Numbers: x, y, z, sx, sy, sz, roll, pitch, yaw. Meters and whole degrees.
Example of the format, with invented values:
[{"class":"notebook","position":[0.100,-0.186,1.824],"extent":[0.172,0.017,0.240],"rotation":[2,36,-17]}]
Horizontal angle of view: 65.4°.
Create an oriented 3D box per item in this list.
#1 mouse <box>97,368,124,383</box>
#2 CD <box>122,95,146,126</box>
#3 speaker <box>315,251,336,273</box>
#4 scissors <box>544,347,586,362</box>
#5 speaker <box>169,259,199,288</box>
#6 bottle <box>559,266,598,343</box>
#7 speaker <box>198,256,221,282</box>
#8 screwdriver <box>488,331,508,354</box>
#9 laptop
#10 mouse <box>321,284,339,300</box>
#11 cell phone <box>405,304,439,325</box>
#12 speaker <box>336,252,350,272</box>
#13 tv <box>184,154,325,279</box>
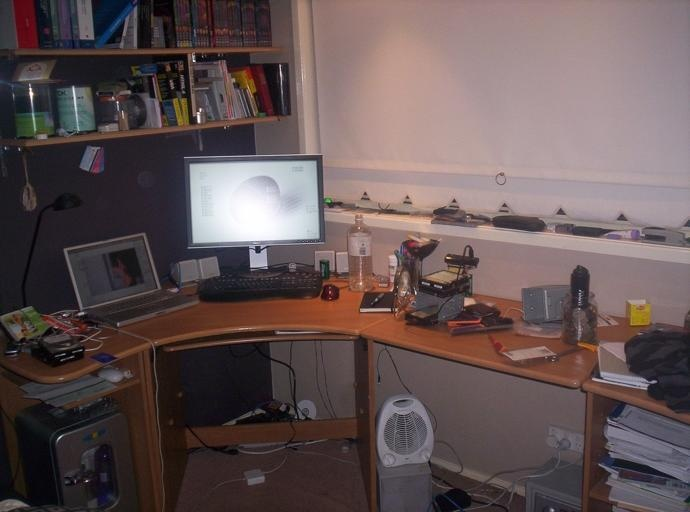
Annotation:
[{"class":"mouse","position":[-1.030,0.520,2.384],"extent":[0.100,0.026,0.059],"rotation":[11,16,37]},{"class":"CD","position":[-1.051,-0.737,2.721],"extent":[0.147,0.143,0.034],"rotation":[-9,7,-26]},{"class":"speaker","position":[-0.116,0.032,3.112],"extent":[0.116,0.110,0.061],"rotation":[1,12,2]},{"class":"scissors","position":[0.899,0.400,2.205],"extent":[0.197,0.024,0.037],"rotation":[-11,13,-33]},{"class":"speaker","position":[-0.887,0.097,2.994],"extent":[0.186,0.174,0.110],"rotation":[-8,15,-25]},{"class":"bottle","position":[0.997,0.208,2.289],"extent":[0.133,0.324,0.103],"rotation":[1,12,23]},{"class":"speaker","position":[-0.766,0.056,3.063],"extent":[0.153,0.147,0.111],"rotation":[-10,7,-35]},{"class":"screwdriver","position":[0.641,0.378,2.275],"extent":[0.058,0.030,0.035],"rotation":[39,33,12]},{"class":"laptop","position":[-1.081,0.144,2.728],"extent":[0.524,0.362,0.511],"rotation":[7,16,41]},{"class":"mouse","position":[-0.078,0.191,2.852],"extent":[0.080,0.055,0.079],"rotation":[0,1,3]},{"class":"cell phone","position":[0.374,0.265,2.519],"extent":[0.087,0.036,0.125],"rotation":[9,17,34]},{"class":"speaker","position":[-0.012,0.036,3.111],"extent":[0.102,0.134,0.074],"rotation":[2,15,8]},{"class":"tv","position":[-0.507,-0.243,2.991],"extent":[0.754,0.621,0.259],"rotation":[-1,5,-3]}]
